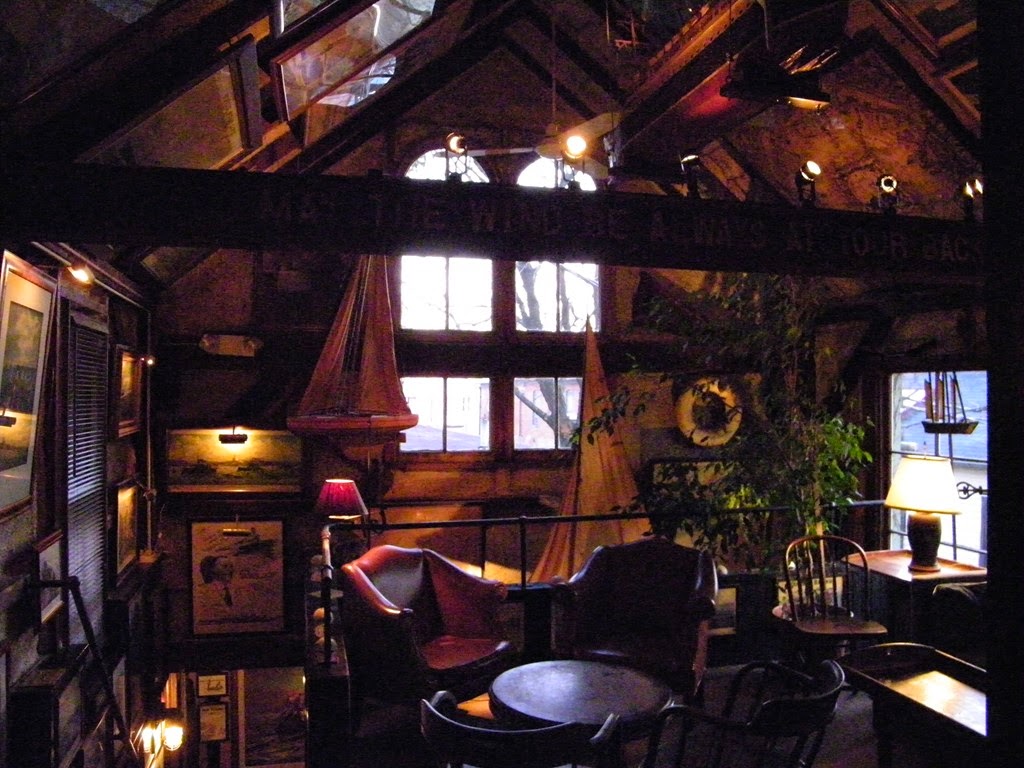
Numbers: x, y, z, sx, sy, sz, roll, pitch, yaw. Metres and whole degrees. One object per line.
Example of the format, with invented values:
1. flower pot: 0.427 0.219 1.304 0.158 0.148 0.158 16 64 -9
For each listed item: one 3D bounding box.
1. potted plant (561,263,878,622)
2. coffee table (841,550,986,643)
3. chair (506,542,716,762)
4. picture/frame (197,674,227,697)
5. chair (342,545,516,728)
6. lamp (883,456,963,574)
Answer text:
1. potted plant: 2.073 0.412 8.995 2.914 3.248 2.610 0 -9 -3
2. coffee table: 3.084 1.509 7.634 0.607 0.922 1.131 0 1 -10
3. chair: 0.416 1.664 6.810 1.310 1.642 1.300 -8 -24 34
4. picture/frame: -2.906 2.934 9.647 0.231 0.235 0.058 -2 4 -8
5. chair: -0.696 1.760 7.187 1.114 1.420 1.066 9 -24 -40
6. lamp: 3.096 0.969 7.514 0.537 0.870 0.561 4 -2 -18
